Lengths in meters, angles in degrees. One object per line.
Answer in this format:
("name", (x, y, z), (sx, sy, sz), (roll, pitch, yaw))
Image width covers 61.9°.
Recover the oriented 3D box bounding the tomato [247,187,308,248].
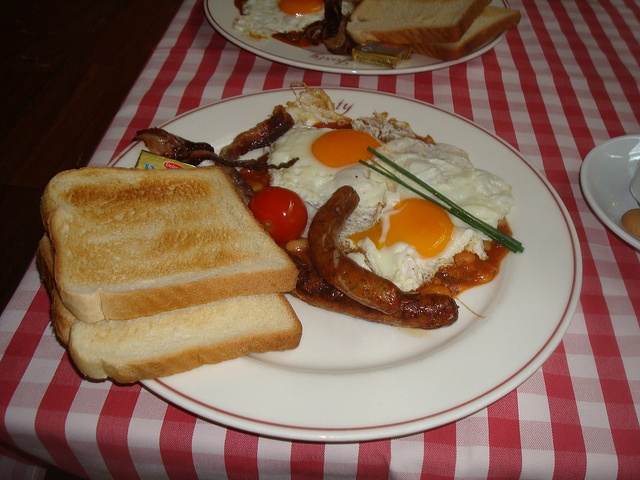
("tomato", (-0.185, -0.122, 3.069), (0.319, 0.310, 0.332), (31, 84, 9))
